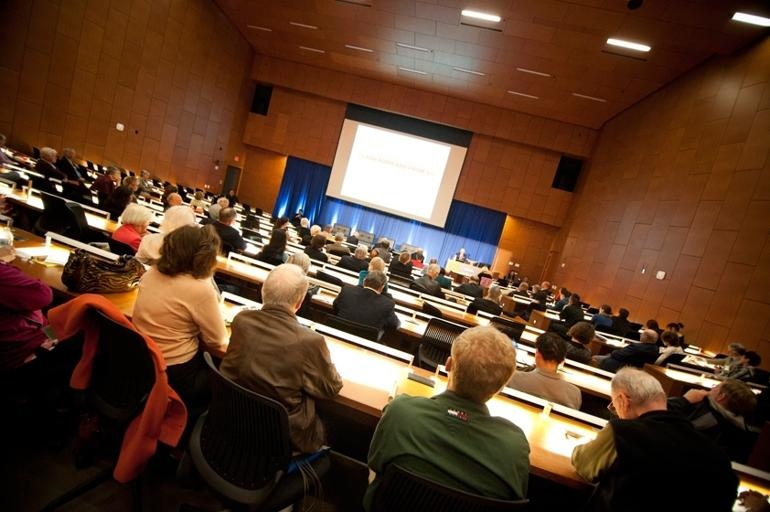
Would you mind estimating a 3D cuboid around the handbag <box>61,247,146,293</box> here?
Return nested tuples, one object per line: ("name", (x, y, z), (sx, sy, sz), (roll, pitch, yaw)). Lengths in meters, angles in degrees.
("handbag", (-2.567, 0.133, 4.233), (0.574, 0.348, 0.419), (2, 3, -35))

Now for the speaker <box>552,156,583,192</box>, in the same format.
("speaker", (6.428, -2.897, 16.425), (0.982, 1.574, 0.338), (15, 7, 9))

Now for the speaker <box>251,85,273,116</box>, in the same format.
("speaker", (-4.800, -6.106, 18.318), (0.881, 0.970, 0.252), (18, 5, 16))
